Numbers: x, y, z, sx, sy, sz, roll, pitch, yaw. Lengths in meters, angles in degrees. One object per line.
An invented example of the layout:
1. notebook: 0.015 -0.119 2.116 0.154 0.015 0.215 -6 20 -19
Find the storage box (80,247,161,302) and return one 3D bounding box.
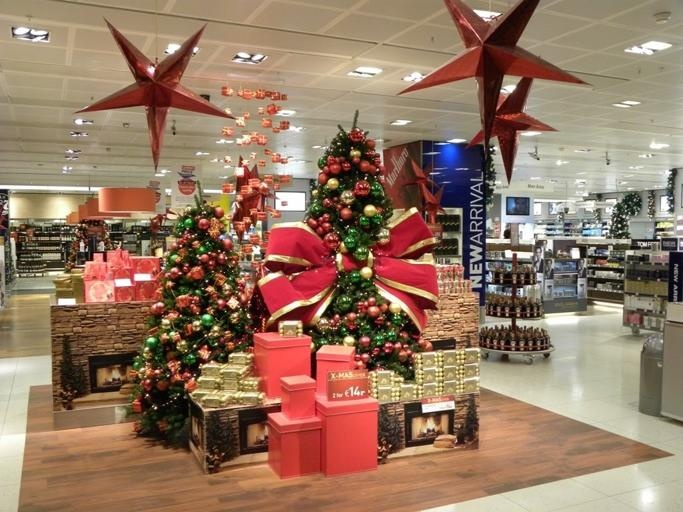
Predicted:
1. storage box: -2.545 0.242 5.652 0.835 0.391 0.725 -1 5 -21

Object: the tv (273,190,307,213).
1. tv: -2.009 -2.153 19.426 1.201 0.813 1.174 -3 3 -5

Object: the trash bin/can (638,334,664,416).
1. trash bin/can: 3.705 1.411 5.914 0.260 0.917 0.380 -1 4 30

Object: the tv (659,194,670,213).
1. tv: 14.792 -2.375 22.643 0.182 0.818 0.641 -2 3 14

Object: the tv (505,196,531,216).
1. tv: 6.062 -1.696 17.094 0.925 0.590 0.112 -1 -4 -9
